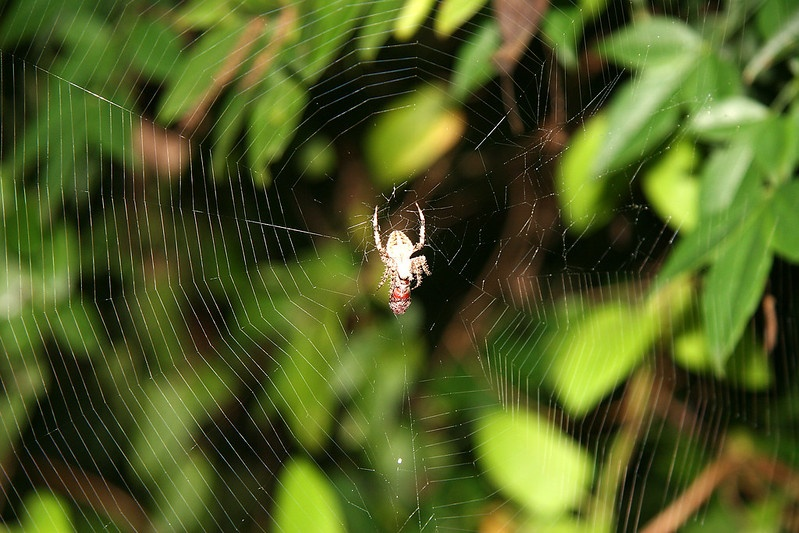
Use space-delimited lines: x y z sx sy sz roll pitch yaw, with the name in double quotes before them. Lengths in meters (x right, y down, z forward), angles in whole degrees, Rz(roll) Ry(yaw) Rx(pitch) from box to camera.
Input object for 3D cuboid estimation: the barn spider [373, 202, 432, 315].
"barn spider" 0.027 -0.033 3.984 0.247 0.162 0.547 -4 96 -10
